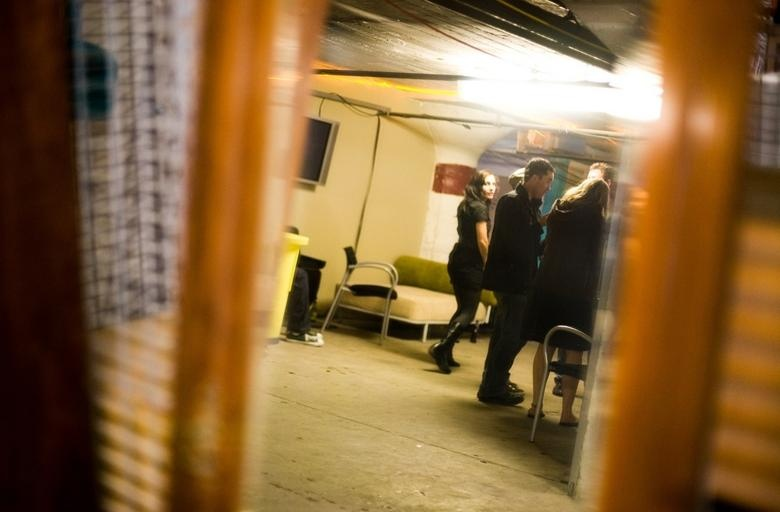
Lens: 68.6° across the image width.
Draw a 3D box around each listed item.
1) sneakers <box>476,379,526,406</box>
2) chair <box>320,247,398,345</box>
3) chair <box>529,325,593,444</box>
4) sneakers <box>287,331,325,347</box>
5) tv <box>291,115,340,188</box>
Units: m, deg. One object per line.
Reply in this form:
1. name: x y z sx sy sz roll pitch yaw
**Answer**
1. sneakers: 0.916 1.119 4.779 0.474 0.195 0.164 -2 5 -8
2. chair: -0.343 0.420 6.865 0.930 0.938 0.877 9 -2 22
3. chair: 1.206 0.804 3.669 0.438 0.653 0.404 15 -5 -39
4. sneakers: -0.879 0.832 5.854 0.266 0.084 0.186 1 4 -8
5. tv: -0.931 -1.308 7.237 0.191 0.720 0.486 13 4 36
